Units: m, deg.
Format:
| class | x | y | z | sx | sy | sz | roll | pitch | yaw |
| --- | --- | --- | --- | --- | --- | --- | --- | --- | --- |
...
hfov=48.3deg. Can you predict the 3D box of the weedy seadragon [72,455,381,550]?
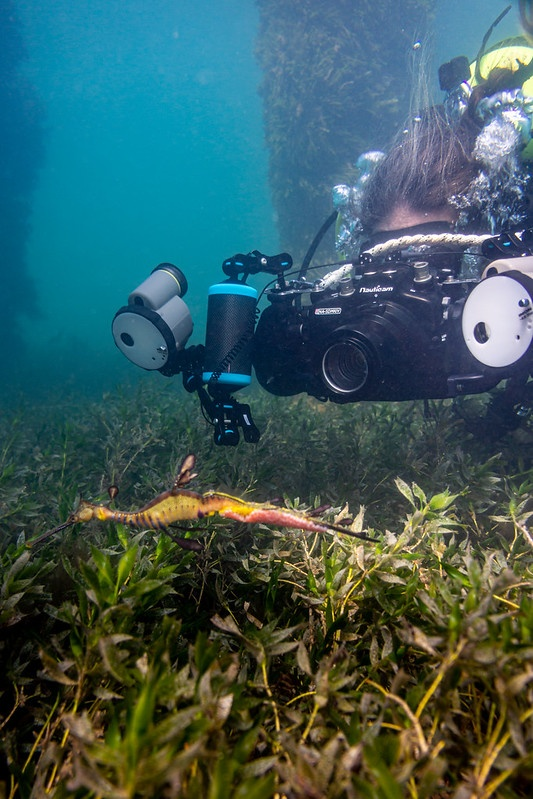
| class | x | y | z | sx | sy | sz | roll | pitch | yaw |
| --- | --- | --- | --- | --- | --- | --- | --- | --- | --- |
| weedy seadragon | -0.114 | 0.206 | 1.228 | 0.618 | 0.165 | 0.184 | -3 | 79 | 0 |
